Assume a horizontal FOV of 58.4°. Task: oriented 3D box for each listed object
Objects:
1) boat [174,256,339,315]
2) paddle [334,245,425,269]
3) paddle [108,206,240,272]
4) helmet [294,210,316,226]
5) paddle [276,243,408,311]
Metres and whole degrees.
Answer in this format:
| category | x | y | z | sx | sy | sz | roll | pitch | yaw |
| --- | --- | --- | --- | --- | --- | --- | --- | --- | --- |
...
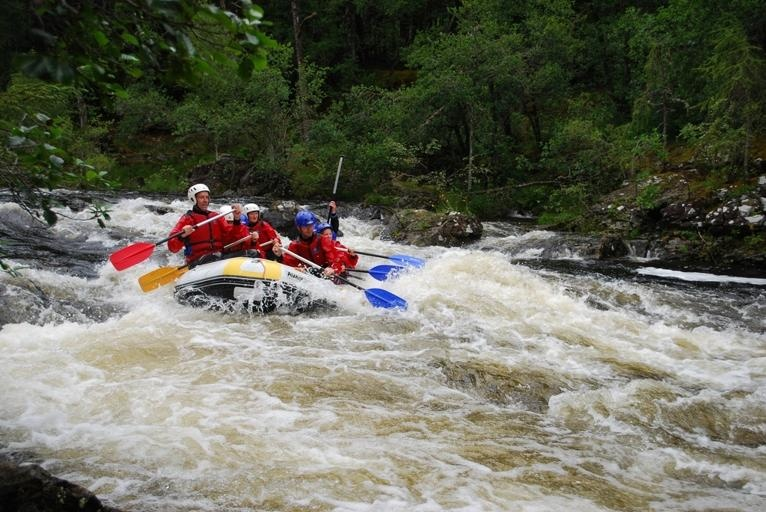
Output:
| category | x | y | z | sx | sy | sz | roll | pitch | yaw |
| --- | --- | --- | --- | --- | --- | --- | --- | --- | --- |
| boat | -2.545 | 0.672 | 13.412 | 2.547 | 0.870 | 1.255 | 6 | -10 | -2 |
| paddle | -0.107 | 0.028 | 16.174 | 1.461 | 0.331 | 0.107 | 13 | 52 | 11 |
| paddle | -4.669 | -0.353 | 15.294 | 3.749 | 0.649 | 0.198 | -28 | 20 | -25 |
| helmet | -1.603 | -0.799 | 14.077 | 0.409 | 0.356 | 0.300 | -1 | 15 | -9 |
| paddle | -0.906 | 0.459 | 13.983 | 2.716 | 0.357 | 0.193 | 29 | 5 | 11 |
